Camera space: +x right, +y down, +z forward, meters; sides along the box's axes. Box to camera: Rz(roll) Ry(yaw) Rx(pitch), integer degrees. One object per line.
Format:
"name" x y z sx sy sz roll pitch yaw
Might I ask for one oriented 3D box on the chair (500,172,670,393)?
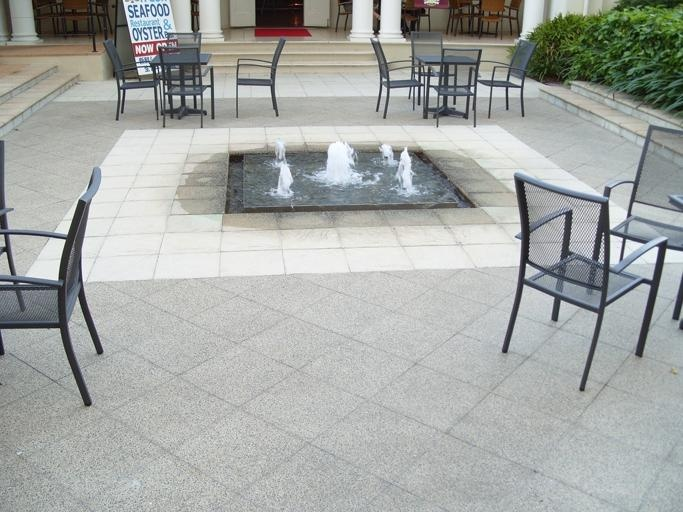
"chair" 1.331 0.106 2.930 0.622 1.179 0.717 -26 36 -36
